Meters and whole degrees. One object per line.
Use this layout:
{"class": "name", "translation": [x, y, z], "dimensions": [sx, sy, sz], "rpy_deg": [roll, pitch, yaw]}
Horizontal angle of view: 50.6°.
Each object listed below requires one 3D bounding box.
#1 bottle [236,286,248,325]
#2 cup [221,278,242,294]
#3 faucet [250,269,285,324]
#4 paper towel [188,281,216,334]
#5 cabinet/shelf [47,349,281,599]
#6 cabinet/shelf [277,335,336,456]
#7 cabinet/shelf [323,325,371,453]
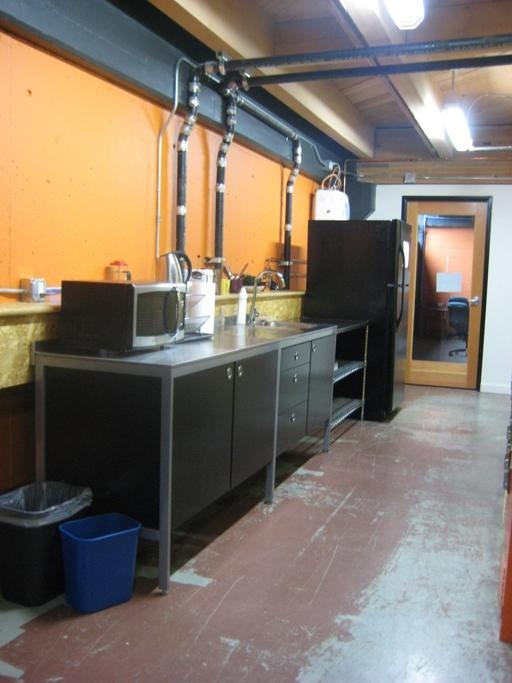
{"class": "bottle", "translation": [-0.100, -0.234, 3.556], "dimensions": [0.067, 0.243, 0.266], "rpy_deg": [2, 3, -3]}
{"class": "cup", "translation": [-0.169, -0.368, 3.576], "dimensions": [0.111, 0.082, 0.116], "rpy_deg": [0, 6, 0]}
{"class": "faucet", "translation": [0.076, -0.297, 3.743], "dimensions": [0.252, 0.424, 0.106], "rpy_deg": [5, -14, 1]}
{"class": "paper towel", "translation": [-0.269, -0.162, 2.572], "dimensions": [0.081, 0.255, 0.261], "rpy_deg": [4, 4, 27]}
{"class": "cabinet/shelf", "translation": [-0.334, 0.400, 2.299], "dimensions": [0.527, 0.816, 1.036], "rpy_deg": [3, 5, 22]}
{"class": "cabinet/shelf", "translation": [0.293, 0.303, 3.193], "dimensions": [0.225, 0.634, 0.674], "rpy_deg": [3, 8, 21]}
{"class": "cabinet/shelf", "translation": [0.722, 0.375, 4.245], "dimensions": [0.405, 0.883, 0.740], "rpy_deg": [3, 8, 21]}
